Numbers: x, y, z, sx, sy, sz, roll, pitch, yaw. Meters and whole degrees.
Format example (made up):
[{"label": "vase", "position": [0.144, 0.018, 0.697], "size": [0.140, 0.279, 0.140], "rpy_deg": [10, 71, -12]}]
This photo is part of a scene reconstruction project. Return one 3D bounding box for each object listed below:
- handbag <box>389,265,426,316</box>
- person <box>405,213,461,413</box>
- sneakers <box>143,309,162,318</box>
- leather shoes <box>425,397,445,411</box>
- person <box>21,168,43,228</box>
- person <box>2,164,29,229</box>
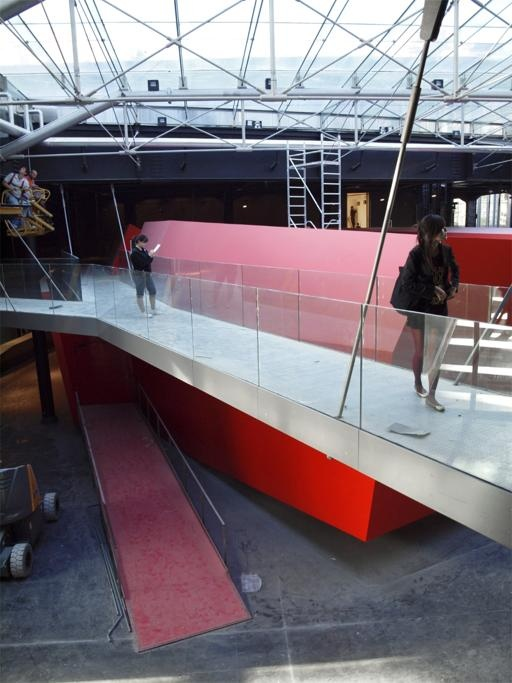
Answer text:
[{"label": "handbag", "position": [1.181, -0.460, 4.102], "size": [0.196, 0.347, 0.257], "rpy_deg": [-9, 32, 5]}, {"label": "person", "position": [1.311, -0.231, 3.901], "size": [0.406, 1.415, 0.880], "rpy_deg": [-1, 12, 20]}, {"label": "sneakers", "position": [-1.866, -0.505, 9.408], "size": [0.399, 0.171, 0.138], "rpy_deg": [-3, 21, 37]}, {"label": "leather shoes", "position": [1.313, 0.463, 3.804], "size": [0.049, 0.066, 0.156], "rpy_deg": [-29, 48, -27]}, {"label": "person", "position": [-6.406, -4.207, 14.528], "size": [0.703, 1.283, 0.549], "rpy_deg": [-3, 30, -40]}, {"label": "person", "position": [-6.538, -3.986, 14.313], "size": [0.689, 1.600, 1.191], "rpy_deg": [-10, 12, -21]}]
